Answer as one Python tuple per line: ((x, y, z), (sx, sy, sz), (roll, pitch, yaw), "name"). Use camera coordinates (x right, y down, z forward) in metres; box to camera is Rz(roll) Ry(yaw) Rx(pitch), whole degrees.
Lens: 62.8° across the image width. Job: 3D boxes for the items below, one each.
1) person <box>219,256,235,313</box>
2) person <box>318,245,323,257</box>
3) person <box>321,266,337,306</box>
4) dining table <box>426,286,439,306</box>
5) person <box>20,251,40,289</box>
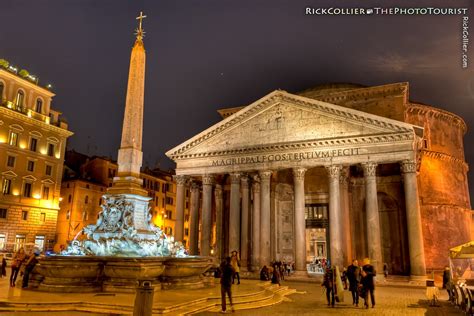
((-0.443, 6.020, 18.628), (0.686, 2.498, 1.481), (1, -16, -1), "person")
((13.236, 14.453, 60.897), (0.854, 1.635, 0.353), (-3, -17, 10), "person")
((5.043, 6.930, 21.063), (0.683, 2.057, 1.457), (-3, -16, 12), "person")
((11.205, 7.799, 22.083), (0.570, 0.998, 1.434), (-8, -18, 25), "dining table")
((-10.702, 5.748, 20.106), (0.611, 1.830, 1.563), (8, -18, -26), "person")
